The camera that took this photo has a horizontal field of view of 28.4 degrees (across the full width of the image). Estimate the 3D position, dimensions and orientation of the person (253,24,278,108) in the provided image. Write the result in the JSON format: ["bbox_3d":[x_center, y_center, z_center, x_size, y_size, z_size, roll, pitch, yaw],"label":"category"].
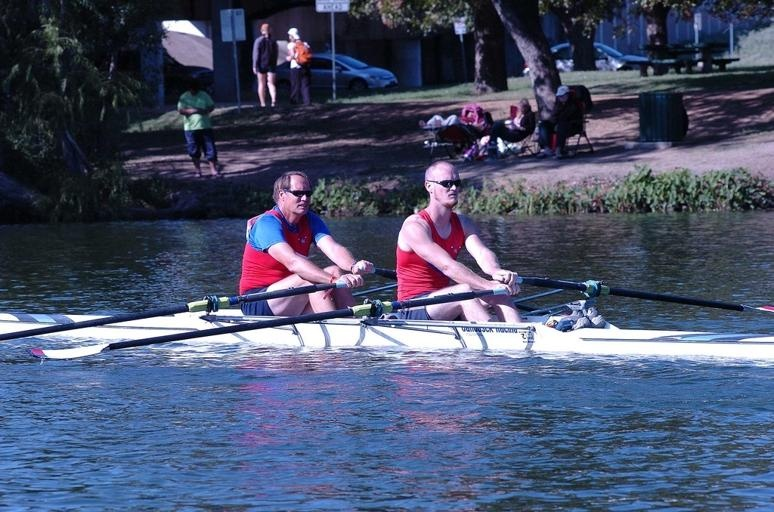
[{"bbox_3d":[-3.190,-4.844,39.421,0.929,2.084,0.839,-9,11,-41],"label":"person"}]

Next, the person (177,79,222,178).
[{"bbox_3d":[-3.939,-2.648,31.925,0.915,1.913,0.750,-7,10,-12],"label":"person"}]

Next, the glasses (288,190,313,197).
[{"bbox_3d":[-1.075,-0.794,19.619,0.307,0.094,0.111,-8,8,-34],"label":"glasses"}]

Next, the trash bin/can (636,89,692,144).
[{"bbox_3d":[5.925,-2.955,33.032,1.637,1.255,1.080,0,4,7],"label":"trash bin/can"}]

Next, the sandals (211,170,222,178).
[{"bbox_3d":[-3.638,-1.726,32.702,0.248,0.208,0.609,-1,0,-3],"label":"sandals"}]

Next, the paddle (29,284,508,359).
[{"bbox_3d":[-1.401,0.863,19.434,5.904,0.606,0.789,-4,7,-1],"label":"paddle"}]
